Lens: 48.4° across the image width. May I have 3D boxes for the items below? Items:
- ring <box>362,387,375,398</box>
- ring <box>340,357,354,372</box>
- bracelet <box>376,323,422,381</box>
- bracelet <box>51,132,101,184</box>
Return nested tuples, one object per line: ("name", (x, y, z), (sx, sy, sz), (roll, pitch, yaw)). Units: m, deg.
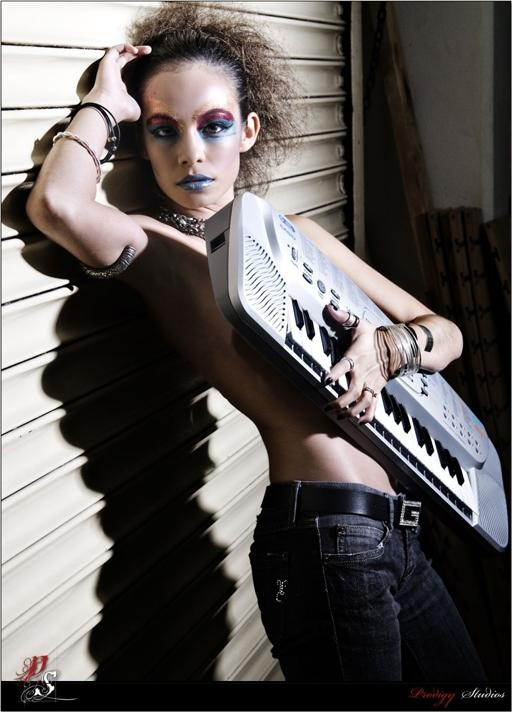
("ring", (0.179, 0.059, 0.925), (0.007, 0.016, 0.018), (-44, 71, 15))
("ring", (0.143, 0.008, 0.898), (0.008, 0.022, 0.019), (-3, 76, 33))
("bracelet", (0.236, -0.007, 1.001), (0.071, 0.103, 0.081), (-12, 81, 7))
("bracelet", (-0.277, -0.312, 0.880), (0.072, 0.028, 0.078), (6, 114, 13))
